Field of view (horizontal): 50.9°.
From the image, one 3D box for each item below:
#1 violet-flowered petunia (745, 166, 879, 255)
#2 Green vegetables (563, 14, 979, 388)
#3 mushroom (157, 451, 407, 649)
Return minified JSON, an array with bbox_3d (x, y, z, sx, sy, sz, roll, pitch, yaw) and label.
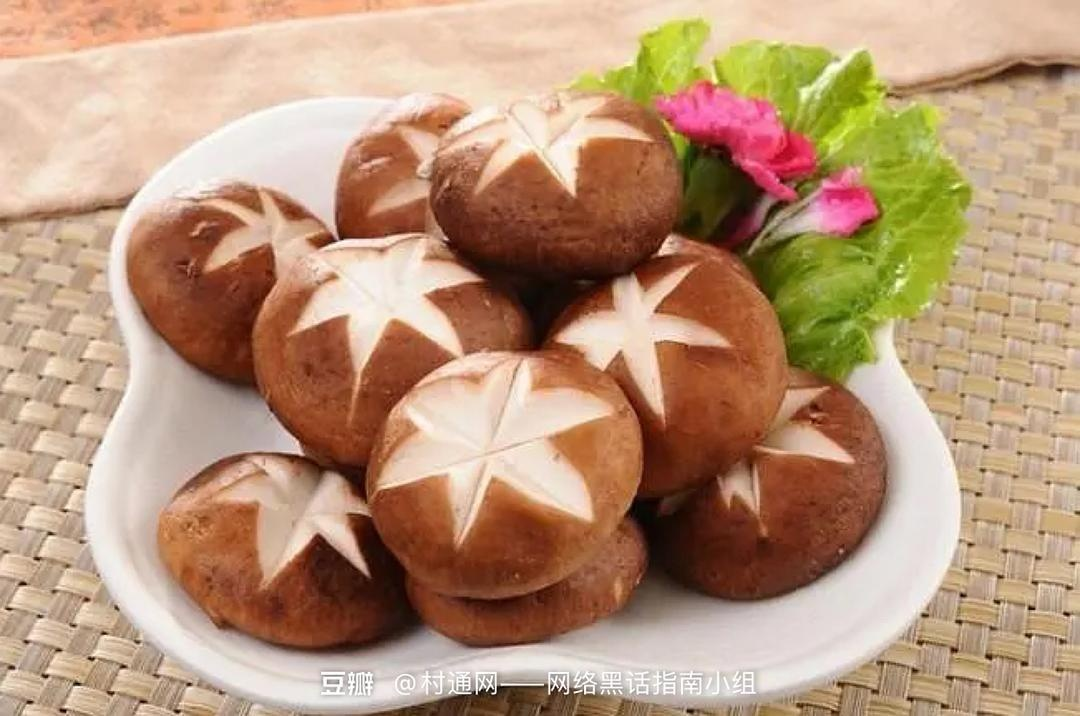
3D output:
[{"bbox_3d":[0.325,-0.175,1.382,0.130,0.032,0.069,-26,56,16],"label":"violet-flowered petunia"},{"bbox_3d":[0.297,-0.214,1.407,0.483,0.411,0.382,12,36,18],"label":"Green vegetables"},{"bbox_3d":[-0.278,0.210,1.234,0.210,0.069,0.220,-7,55,-35],"label":"mushroom"}]
